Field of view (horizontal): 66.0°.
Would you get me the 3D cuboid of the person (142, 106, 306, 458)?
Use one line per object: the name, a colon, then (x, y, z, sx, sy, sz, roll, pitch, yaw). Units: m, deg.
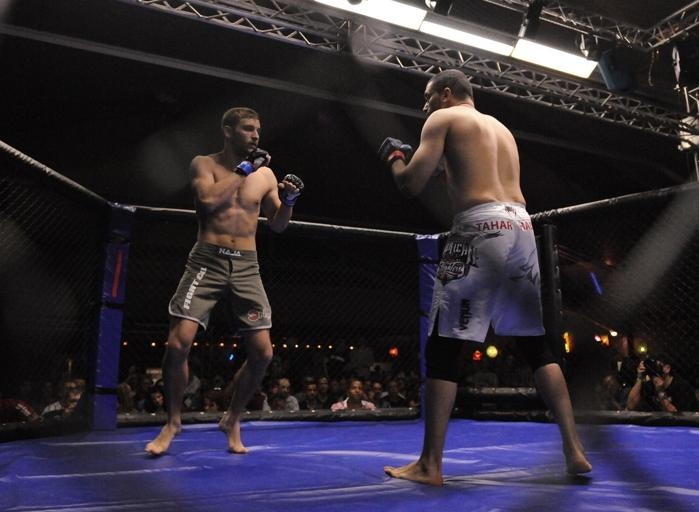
person: (-0.797, 0.109, 3.616, 0.825, 2.328, 0.401, 6, -6, -18)

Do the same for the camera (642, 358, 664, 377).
camera: (2.896, 1.058, 5.158, 0.179, 0.148, 0.179, 0, -3, 20)

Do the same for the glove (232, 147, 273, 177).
glove: (-0.641, -0.612, 3.641, 0.236, 0.096, 0.168, -38, 34, -23)

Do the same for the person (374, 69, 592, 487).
person: (0.721, 0.046, 2.955, 1.022, 2.291, 0.292, 5, -6, -6)

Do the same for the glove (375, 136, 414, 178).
glove: (0.277, -0.595, 3.215, 0.227, 0.141, 0.301, 43, 21, 16)

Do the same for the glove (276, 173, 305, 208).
glove: (-0.399, -0.438, 3.812, 0.192, 0.115, 0.250, -23, -28, 3)
